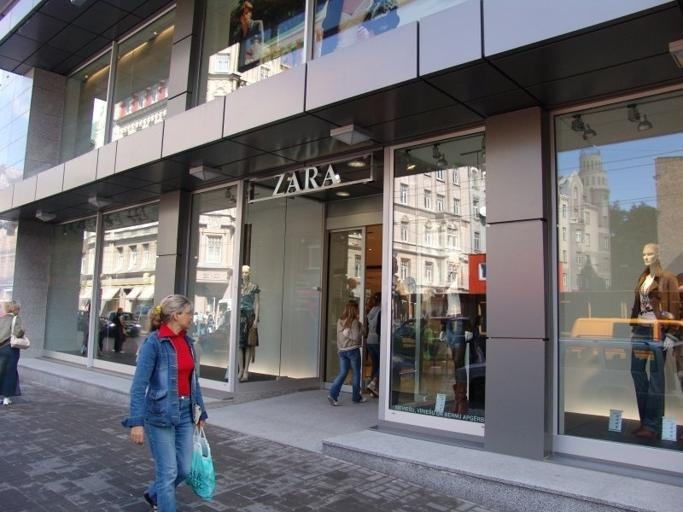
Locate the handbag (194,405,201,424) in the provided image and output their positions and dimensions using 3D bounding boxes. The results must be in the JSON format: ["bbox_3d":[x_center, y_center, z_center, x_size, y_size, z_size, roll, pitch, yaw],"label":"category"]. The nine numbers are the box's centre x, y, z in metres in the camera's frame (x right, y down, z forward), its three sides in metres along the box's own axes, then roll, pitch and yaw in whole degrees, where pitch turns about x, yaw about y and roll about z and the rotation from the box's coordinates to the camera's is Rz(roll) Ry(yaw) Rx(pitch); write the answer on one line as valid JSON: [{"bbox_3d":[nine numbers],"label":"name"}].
[{"bbox_3d":[-1.387,1.506,4.983,0.051,0.137,0.137,6,-6,-19],"label":"handbag"}]

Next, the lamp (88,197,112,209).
[{"bbox_3d":[-5.735,-1.283,12.230,0.345,0.087,0.382,-6,-7,44],"label":"lamp"}]

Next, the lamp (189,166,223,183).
[{"bbox_3d":[-2.497,-1.542,9.625,0.479,0.211,0.480,-4,-2,42],"label":"lamp"}]

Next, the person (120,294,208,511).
[{"bbox_3d":[-1.654,1.326,4.828,0.397,1.904,0.726,-3,-2,24],"label":"person"}]

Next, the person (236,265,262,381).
[{"bbox_3d":[-1.957,1.379,10.898,0.292,2.338,0.787,-3,-2,4],"label":"person"}]

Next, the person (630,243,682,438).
[{"bbox_3d":[3.606,1.123,5.944,0.499,1.986,0.235,-3,-2,28],"label":"person"}]

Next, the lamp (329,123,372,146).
[{"bbox_3d":[0.091,-1.756,7.505,0.313,0.076,0.339,-4,-9,40],"label":"lamp"}]

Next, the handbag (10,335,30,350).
[{"bbox_3d":[-5.872,1.561,9.464,0.281,0.237,0.262,-2,-2,-34],"label":"handbag"}]

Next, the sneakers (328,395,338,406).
[{"bbox_3d":[-0.153,2.617,9.406,0.099,0.233,0.101,-46,20,-27],"label":"sneakers"}]

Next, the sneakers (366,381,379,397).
[{"bbox_3d":[0.598,2.591,10.143,0.157,0.175,0.441,15,-29,7],"label":"sneakers"}]

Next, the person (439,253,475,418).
[{"bbox_3d":[1.573,1.297,7.034,0.492,1.383,0.275,-3,-2,26],"label":"person"}]

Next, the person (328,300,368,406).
[{"bbox_3d":[0.097,1.782,9.551,0.519,1.905,0.744,-4,-2,38],"label":"person"}]
